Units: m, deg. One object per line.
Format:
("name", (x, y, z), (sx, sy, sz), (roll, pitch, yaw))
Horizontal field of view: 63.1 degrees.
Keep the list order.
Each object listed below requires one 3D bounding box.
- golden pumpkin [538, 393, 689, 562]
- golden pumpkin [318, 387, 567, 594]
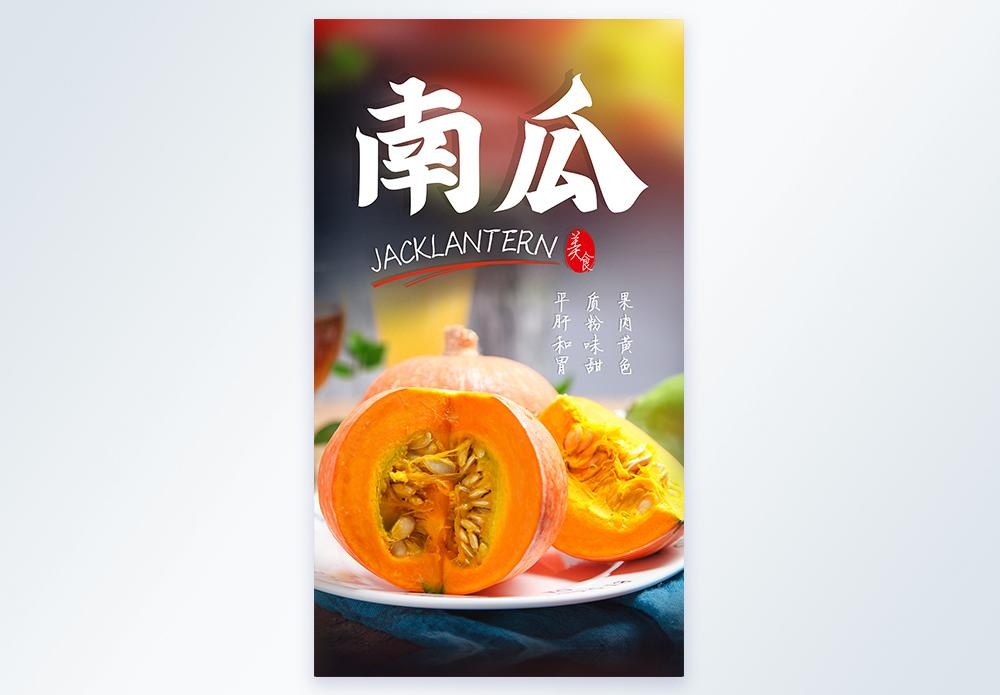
("golden pumpkin", (0.300, 0.248, 1.721), (0.155, 0.374, 0.445), (-13, 1, -30))
("golden pumpkin", (-0.084, 0.313, 1.754), (0.535, 0.431, 0.198), (2, -14, 30))
